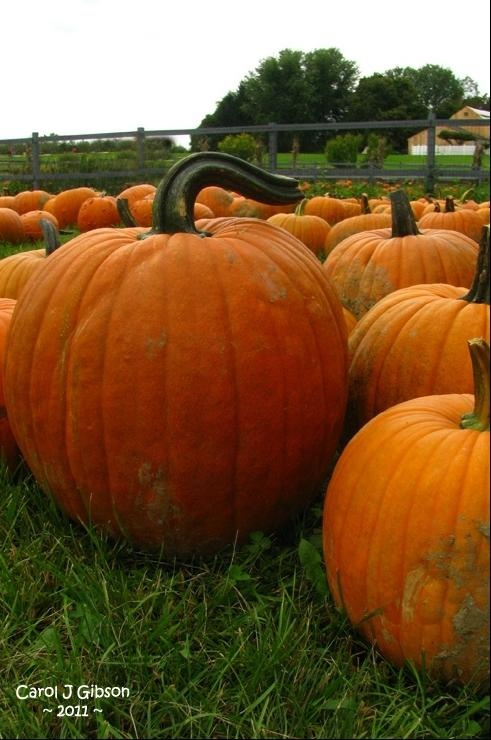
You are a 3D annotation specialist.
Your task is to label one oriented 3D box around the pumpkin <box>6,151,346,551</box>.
[{"bbox_3d":[-0.182,-0.060,2.173,1.158,1.339,1.094,4,6,5],"label":"pumpkin"}]
